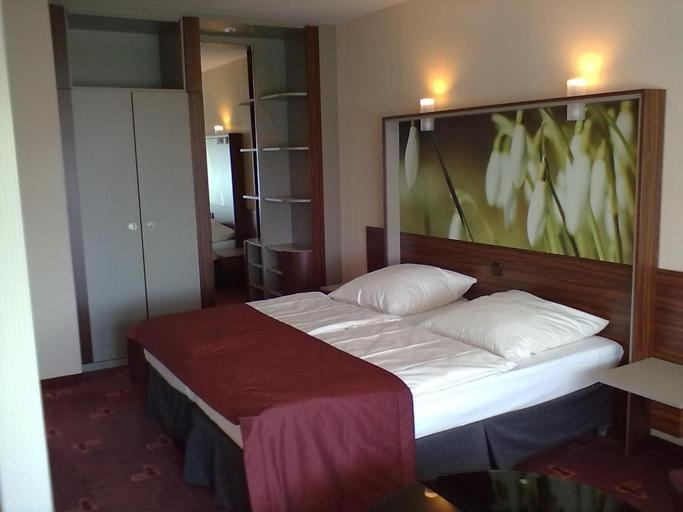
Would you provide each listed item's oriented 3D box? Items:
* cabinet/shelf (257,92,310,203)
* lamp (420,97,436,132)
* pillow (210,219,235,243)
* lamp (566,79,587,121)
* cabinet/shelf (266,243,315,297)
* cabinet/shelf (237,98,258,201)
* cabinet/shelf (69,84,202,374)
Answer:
[{"bbox_3d":[-0.586,-1.067,5.346,0.396,1.136,0.578,-8,14,-29],"label":"cabinet/shelf"},{"bbox_3d":[0.675,-1.122,4.269,0.119,0.262,0.317,1,13,9],"label":"lamp"},{"bbox_3d":[-1.240,-0.266,5.577,0.197,0.063,0.195,-14,27,-38],"label":"pillow"},{"bbox_3d":[1.451,-0.973,3.330,0.113,0.266,0.178,6,14,29],"label":"lamp"},{"bbox_3d":[-0.530,0.134,5.506,0.364,0.468,0.535,-6,14,-23],"label":"cabinet/shelf"},{"bbox_3d":[-0.941,-1.105,5.535,0.215,0.940,0.215,0,14,11],"label":"cabinet/shelf"},{"bbox_3d":[-1.816,-0.297,4.862,0.964,2.331,0.605,-7,-13,-12],"label":"cabinet/shelf"}]
